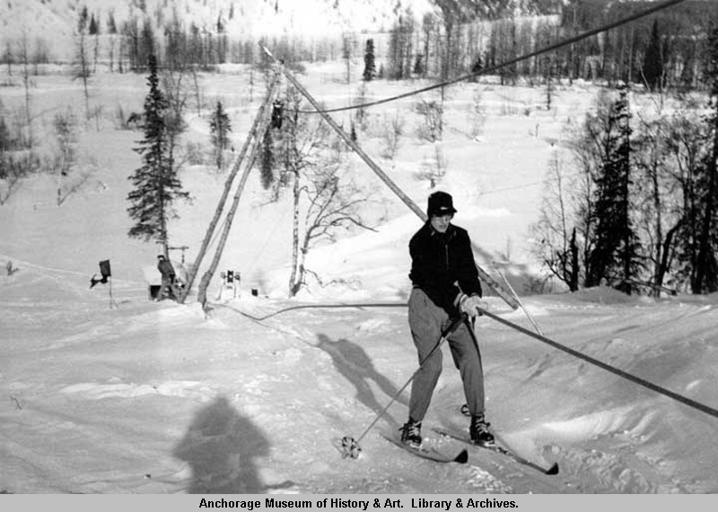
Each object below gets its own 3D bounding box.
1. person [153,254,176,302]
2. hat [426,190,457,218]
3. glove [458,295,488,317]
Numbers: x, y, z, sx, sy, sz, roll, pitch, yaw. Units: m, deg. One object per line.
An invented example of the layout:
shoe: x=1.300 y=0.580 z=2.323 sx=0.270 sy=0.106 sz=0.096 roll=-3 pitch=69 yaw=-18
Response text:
person: x=-7.083 y=0.749 z=26.397 sx=1.023 sy=1.776 sz=0.801 roll=6 pitch=23 yaw=-4
hat: x=1.396 y=-0.918 z=12.558 sx=0.373 sy=0.314 sz=0.522 roll=-7 pitch=14 yaw=-16
glove: x=1.982 y=0.897 z=12.364 sx=0.463 sy=0.435 sz=0.311 roll=-1 pitch=9 yaw=7
